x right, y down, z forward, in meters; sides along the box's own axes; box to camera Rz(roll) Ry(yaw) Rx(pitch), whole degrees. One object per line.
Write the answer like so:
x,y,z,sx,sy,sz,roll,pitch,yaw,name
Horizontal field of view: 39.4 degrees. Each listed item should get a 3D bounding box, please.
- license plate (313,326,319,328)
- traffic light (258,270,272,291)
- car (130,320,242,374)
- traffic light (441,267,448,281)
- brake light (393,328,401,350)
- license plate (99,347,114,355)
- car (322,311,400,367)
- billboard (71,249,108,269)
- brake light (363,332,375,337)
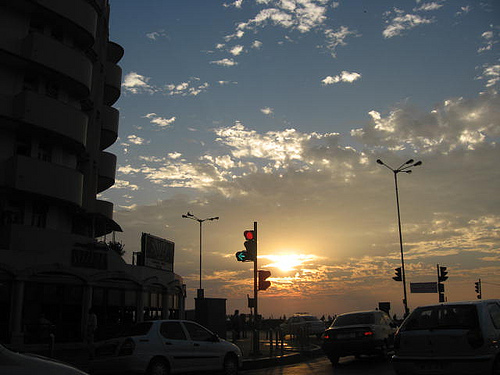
5.110,10.762,53.904,0.672,0.093,0.147,-2,20,-1,license plate
0.644,4.312,32.310,0.604,0.918,0.346,10,-2,11,traffic light
-2.949,6.158,27.115,3.913,1.332,1.934,7,-17,-33,car
14.281,6.379,51.221,0.458,0.906,1.290,10,-1,14,traffic light
5.193,5.317,24.380,0.200,0.694,0.365,11,-2,0,brake light
-5.316,6.036,25.715,0.630,0.310,0.076,8,-3,20,license plate
4.869,6.781,31.104,3.098,2.307,2.032,9,-2,-7,car
-9.697,4.350,42.386,0.535,1.191,2.744,9,-1,34,billboard
5.156,6.374,30.265,0.455,0.214,0.076,8,-2,6,brake light
